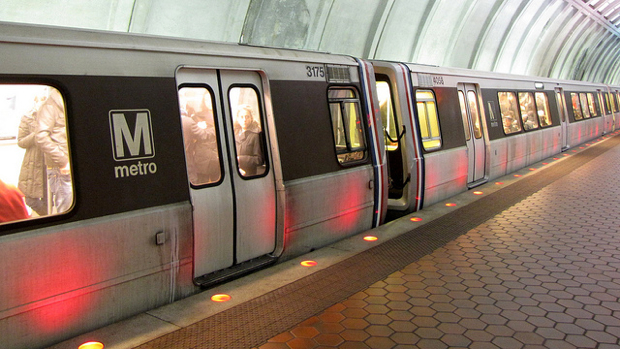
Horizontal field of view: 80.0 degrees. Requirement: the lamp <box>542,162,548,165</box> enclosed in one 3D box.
[{"bbox_3d":[9.550,-0.438,14.926,0.145,0.032,0.141,-5,17,17],"label":"lamp"}]
